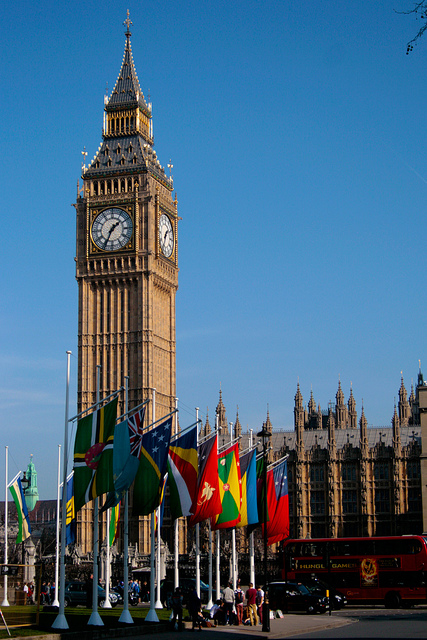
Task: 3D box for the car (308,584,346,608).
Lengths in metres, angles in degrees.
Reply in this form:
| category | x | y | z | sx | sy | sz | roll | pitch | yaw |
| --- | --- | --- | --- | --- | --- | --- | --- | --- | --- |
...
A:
| category | x | y | z | sx | sy | sz | roll | pitch | yaw |
| --- | --- | --- | --- | --- | --- | --- | --- | --- | --- |
| car | 5.664 | 13.705 | 74.638 | 1.545 | 1.062 | 1.007 | -6 | -8 | 16 |
